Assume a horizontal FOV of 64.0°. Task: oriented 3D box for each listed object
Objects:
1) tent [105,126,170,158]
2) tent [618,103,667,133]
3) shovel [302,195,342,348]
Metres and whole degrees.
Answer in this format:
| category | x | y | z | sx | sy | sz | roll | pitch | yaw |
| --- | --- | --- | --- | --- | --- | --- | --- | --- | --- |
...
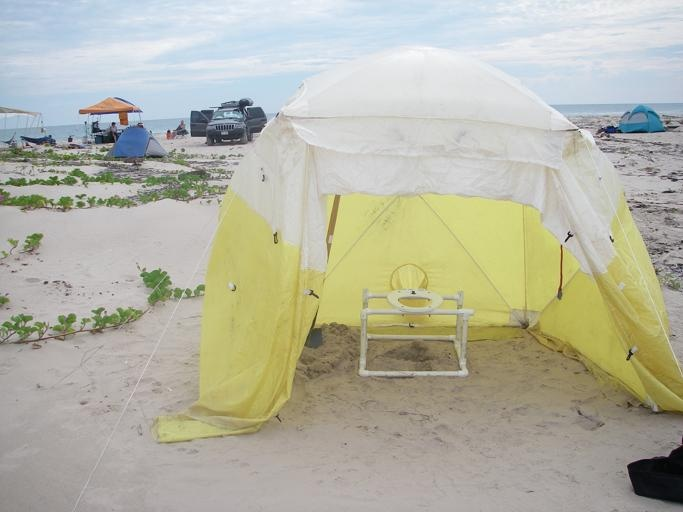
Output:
| category | x | y | z | sx | sy | sz | roll | pitch | yaw |
| --- | --- | --- | --- | --- | --- | --- | --- | --- | --- |
| tent | -7.678 | -4.048 | 20.347 | 1.988 | 1.297 | 2.237 | -4 | 18 | -27 |
| tent | 13.935 | -6.302 | 24.992 | 2.132 | 1.118 | 1.566 | 0 | 5 | 9 |
| shovel | -0.194 | 0.142 | 6.264 | 0.427 | 1.495 | 0.563 | 2 | 20 | -6 |
